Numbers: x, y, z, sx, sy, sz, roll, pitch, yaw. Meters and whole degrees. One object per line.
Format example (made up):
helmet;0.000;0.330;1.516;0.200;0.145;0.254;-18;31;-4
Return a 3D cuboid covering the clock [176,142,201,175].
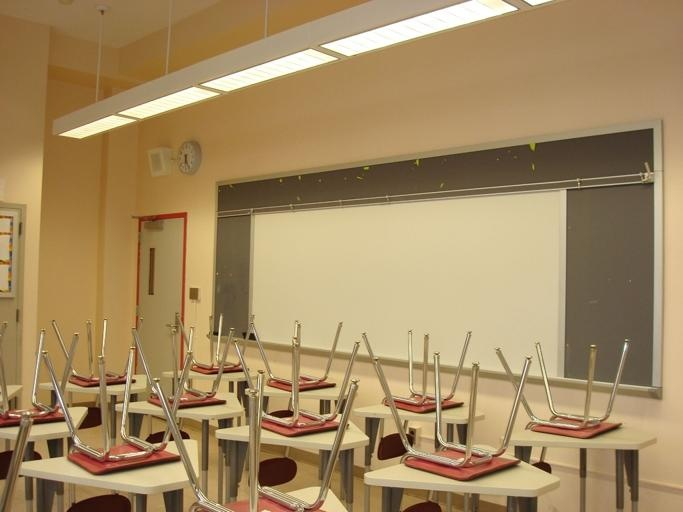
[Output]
clock;-1.789;-1.151;7.055;0.119;0.430;0.398;1;-3;-35
